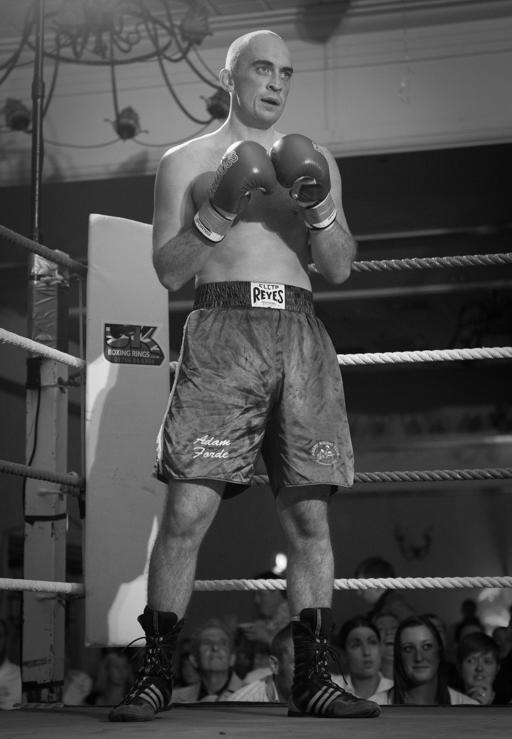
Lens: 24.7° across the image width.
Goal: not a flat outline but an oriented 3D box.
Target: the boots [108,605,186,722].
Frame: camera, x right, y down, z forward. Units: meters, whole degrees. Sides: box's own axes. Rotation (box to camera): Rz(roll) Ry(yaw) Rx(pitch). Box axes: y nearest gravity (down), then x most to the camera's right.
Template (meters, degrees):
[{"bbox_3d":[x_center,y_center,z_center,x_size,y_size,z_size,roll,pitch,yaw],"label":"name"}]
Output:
[{"bbox_3d":[-0.241,0.653,2.642,0.139,0.236,0.241,2,-6,5],"label":"boots"}]

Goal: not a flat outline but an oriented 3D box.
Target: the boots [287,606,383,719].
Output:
[{"bbox_3d":[0.176,0.660,2.639,0.141,0.234,0.233,7,-8,-35],"label":"boots"}]
